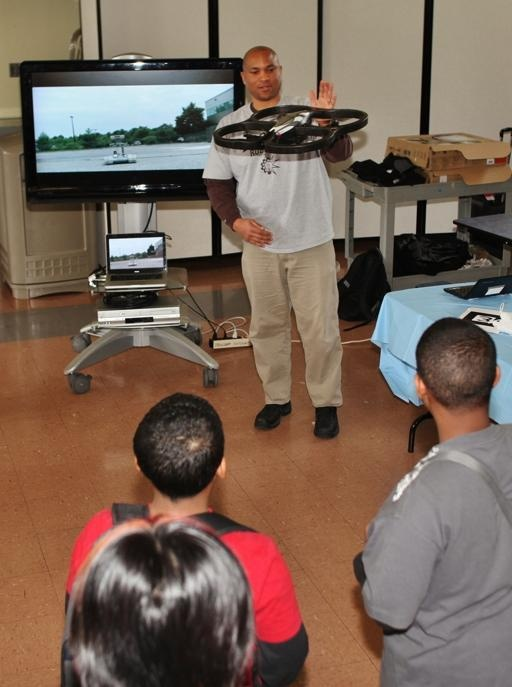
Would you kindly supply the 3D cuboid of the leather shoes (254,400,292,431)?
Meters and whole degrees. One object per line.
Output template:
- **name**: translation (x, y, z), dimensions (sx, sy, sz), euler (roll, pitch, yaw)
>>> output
- **leather shoes**: translation (0.099, 0.377, 3.058), dimensions (0.102, 0.092, 0.223), euler (20, 39, 34)

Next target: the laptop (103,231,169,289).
- **laptop**: translation (-0.746, -0.534, 3.555), dimensions (0.456, 0.331, 0.354), euler (-3, 18, -9)

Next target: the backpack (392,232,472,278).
- **backpack**: translation (1.425, -0.734, 4.656), dimensions (0.459, 0.342, 0.524), euler (-15, 22, -36)

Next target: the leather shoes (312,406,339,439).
- **leather shoes**: translation (0.372, 0.406, 2.880), dimensions (0.083, 0.086, 0.206), euler (-1, 14, 3)
